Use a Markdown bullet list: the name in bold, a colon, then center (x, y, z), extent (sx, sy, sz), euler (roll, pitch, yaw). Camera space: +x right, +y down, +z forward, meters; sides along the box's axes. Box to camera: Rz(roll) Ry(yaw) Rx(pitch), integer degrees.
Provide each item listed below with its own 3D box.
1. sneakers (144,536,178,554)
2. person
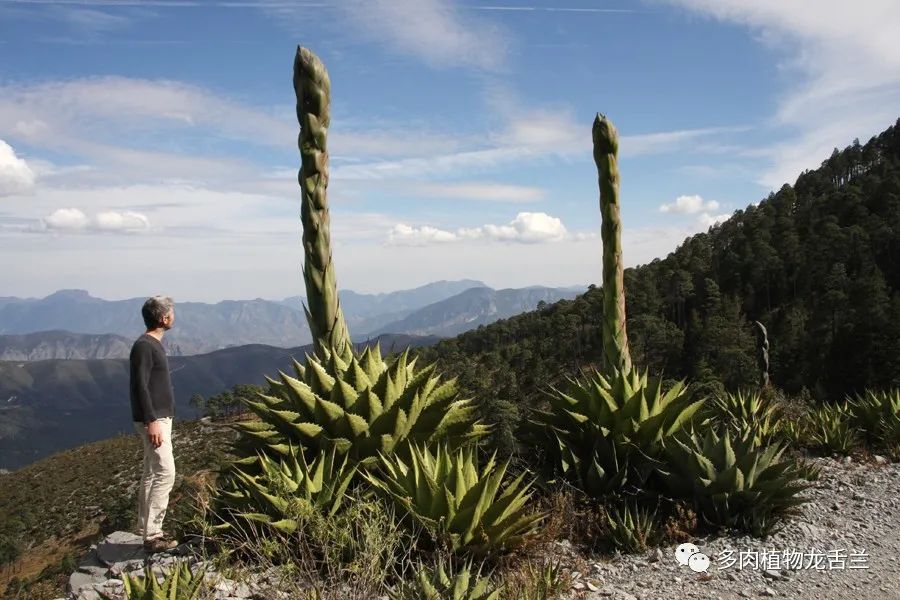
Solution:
- **sneakers**: center (-4.047, 3.415, 9.139), extent (0.468, 0.191, 0.249), euler (-2, 1, -12)
- **person**: center (-4.272, 1.748, 9.530), extent (0.672, 3.700, 1.573), euler (-4, 0, -25)
